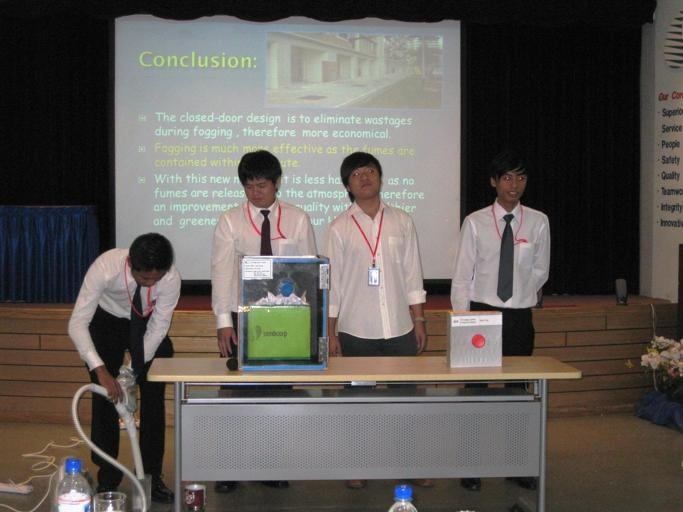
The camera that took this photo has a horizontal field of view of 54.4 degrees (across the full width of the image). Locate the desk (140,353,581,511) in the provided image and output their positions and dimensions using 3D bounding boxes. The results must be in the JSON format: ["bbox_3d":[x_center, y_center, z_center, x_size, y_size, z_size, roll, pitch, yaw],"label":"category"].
[{"bbox_3d":[0.114,0.999,3.666,2.147,0.898,0.394,-2,6,-3],"label":"desk"}]

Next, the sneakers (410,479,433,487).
[{"bbox_3d":[0.531,1.484,4.391,0.141,0.061,0.048,-4,-3,39],"label":"sneakers"}]

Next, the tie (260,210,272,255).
[{"bbox_3d":[-0.463,-0.149,4.079,0.078,0.268,0.090,-2,6,-7],"label":"tie"}]

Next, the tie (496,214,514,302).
[{"bbox_3d":[1.063,0.008,4.296,0.101,0.553,0.150,0,6,14],"label":"tie"}]

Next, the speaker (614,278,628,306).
[{"bbox_3d":[2.468,0.314,5.850,0.094,0.208,0.098,3,8,35],"label":"speaker"}]

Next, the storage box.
[{"bbox_3d":[-0.273,0.285,3.753,0.627,0.705,0.515,0,-2,-4],"label":"storage box"}]

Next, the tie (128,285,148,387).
[{"bbox_3d":[-1.203,0.468,3.949,0.094,0.601,0.103,-3,6,-12],"label":"tie"}]
